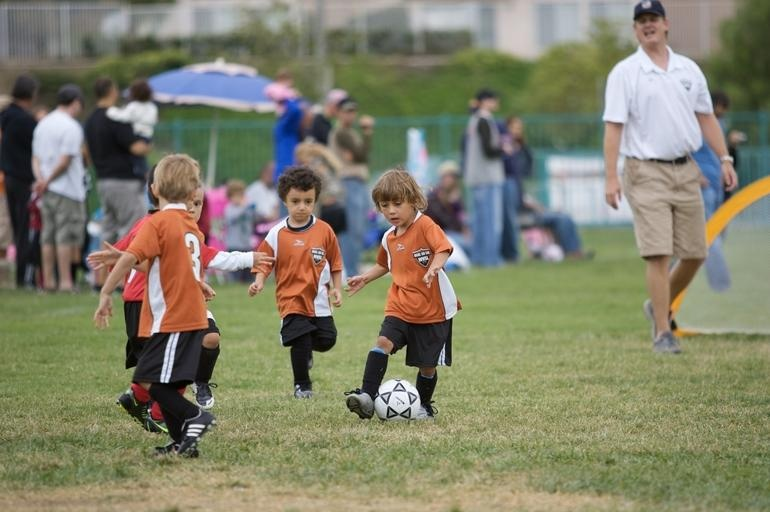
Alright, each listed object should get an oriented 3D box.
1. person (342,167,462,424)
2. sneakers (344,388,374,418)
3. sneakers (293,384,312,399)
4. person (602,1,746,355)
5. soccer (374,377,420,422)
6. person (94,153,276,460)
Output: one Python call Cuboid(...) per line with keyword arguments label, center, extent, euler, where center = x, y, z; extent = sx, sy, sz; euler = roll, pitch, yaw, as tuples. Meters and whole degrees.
Cuboid(label="person", center=(0.173, 0.298, 11.505), extent=(0.936, 2.101, 0.605), euler=(-1, 5, -3))
Cuboid(label="sneakers", center=(-0.215, 1.246, 11.351), extent=(0.242, 0.262, 0.201), euler=(-1, 5, 0))
Cuboid(label="sneakers", center=(-0.726, 1.161, 11.813), extent=(0.166, 0.114, 0.208), euler=(-1, 5, -4))
Cuboid(label="person", center=(2.607, -0.753, 12.471), extent=(1.134, 3.264, 0.594), euler=(-1, 5, 4))
Cuboid(label="soccer", center=(0.099, 1.216, 11.511), extent=(0.324, 0.350, 0.319), euler=(0, -7, 0))
Cuboid(label="person", center=(-1.810, 0.384, 10.804), extent=(0.746, 2.391, 0.492), euler=(-2, 5, -13))
